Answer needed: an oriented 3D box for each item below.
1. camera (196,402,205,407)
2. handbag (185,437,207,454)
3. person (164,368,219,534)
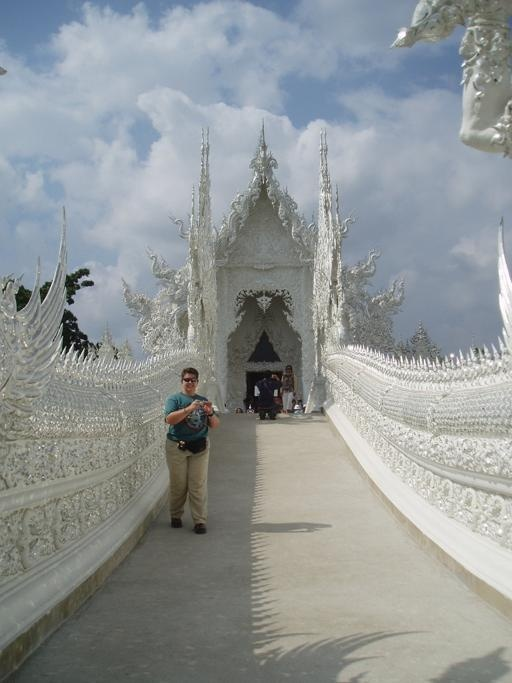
[{"bbox_3d":[-0.343,0.369,3.284,0.034,0.035,0.068,4,-20,-9],"label":"camera"},{"bbox_3d":[-0.388,0.647,3.413,0.115,0.085,0.047,-4,-2,14],"label":"handbag"},{"bbox_3d":[-0.433,0.673,3.471,0.315,1.020,0.505,1,-6,-9],"label":"person"}]
